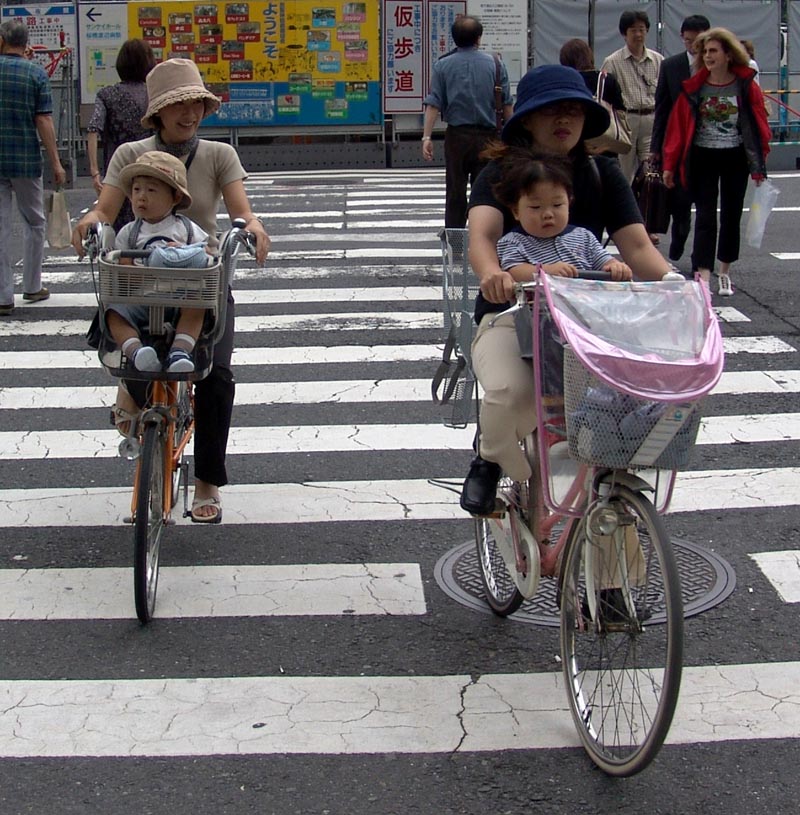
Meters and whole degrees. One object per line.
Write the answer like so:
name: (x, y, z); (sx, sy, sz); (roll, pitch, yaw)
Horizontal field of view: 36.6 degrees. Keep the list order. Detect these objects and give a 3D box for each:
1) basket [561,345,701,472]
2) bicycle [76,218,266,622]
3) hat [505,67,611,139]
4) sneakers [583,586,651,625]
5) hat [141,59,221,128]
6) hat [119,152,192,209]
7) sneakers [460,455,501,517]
basket: (0.578, 0.010, 3.117); (0.373, 0.235, 0.283); (2, 7, -2)
bicycle: (-0.803, 0.019, 4.641); (0.612, 1.428, 1.225); (-6, 21, -12)
hat: (0.525, -1.052, 4.123); (0.291, 0.141, 0.289); (-2, -14, -2)
sneakers: (0.595, 0.547, 3.378); (0.166, 0.142, 0.095); (-1, 0, -9)
hat: (-0.887, -1.306, 4.982); (0.333, 0.251, 0.315); (-9, 21, -22)
hat: (-0.905, -0.885, 4.589); (0.215, 0.123, 0.248); (-5, -29, 18)
sneakers: (0.278, 0.254, 3.997); (0.126, 0.189, 0.075); (13, 11, 30)
